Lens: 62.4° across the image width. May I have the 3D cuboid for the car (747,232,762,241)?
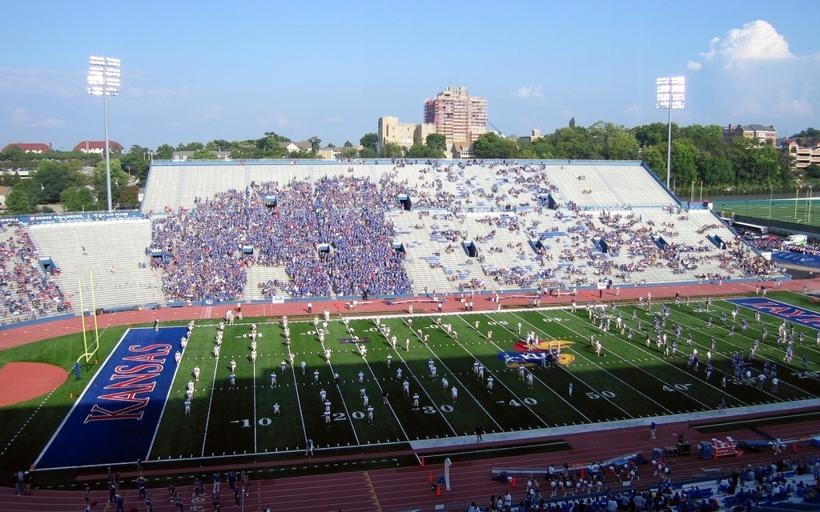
[{"bbox_3d":[45.121,-2.591,89.335,1.904,0.654,2.453,2,12,12],"label":"car"}]
